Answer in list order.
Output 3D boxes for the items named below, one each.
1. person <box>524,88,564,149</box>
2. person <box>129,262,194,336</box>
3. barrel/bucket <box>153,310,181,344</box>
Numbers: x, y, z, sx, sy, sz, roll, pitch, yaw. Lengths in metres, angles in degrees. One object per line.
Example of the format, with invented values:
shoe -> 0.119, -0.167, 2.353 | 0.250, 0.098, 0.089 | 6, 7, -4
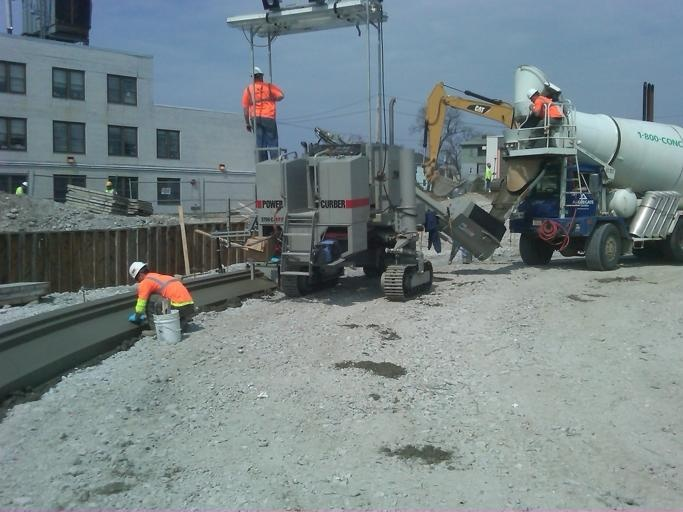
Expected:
person -> 5.482, -3.729, 15.508 | 0.841, 1.538, 0.934 | -10, 17, -29
person -> -3.402, 0.673, 10.768 | 1.180, 0.965, 0.885 | 6, 17, 0
barrel/bucket -> -3.076, 1.302, 10.220 | 0.559, 0.572, 0.523 | -5, 6, 0
